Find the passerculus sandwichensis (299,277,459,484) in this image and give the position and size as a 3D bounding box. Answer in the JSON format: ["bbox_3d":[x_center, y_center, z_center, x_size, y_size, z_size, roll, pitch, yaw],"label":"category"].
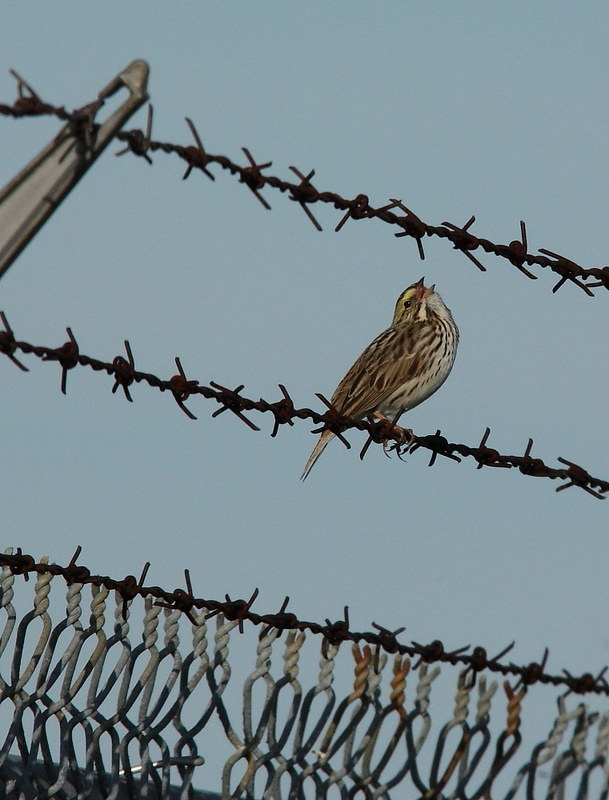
[{"bbox_3d":[0.465,-0.324,9.900,0.510,1.223,0.786,17,-30,-9],"label":"passerculus sandwichensis"}]
